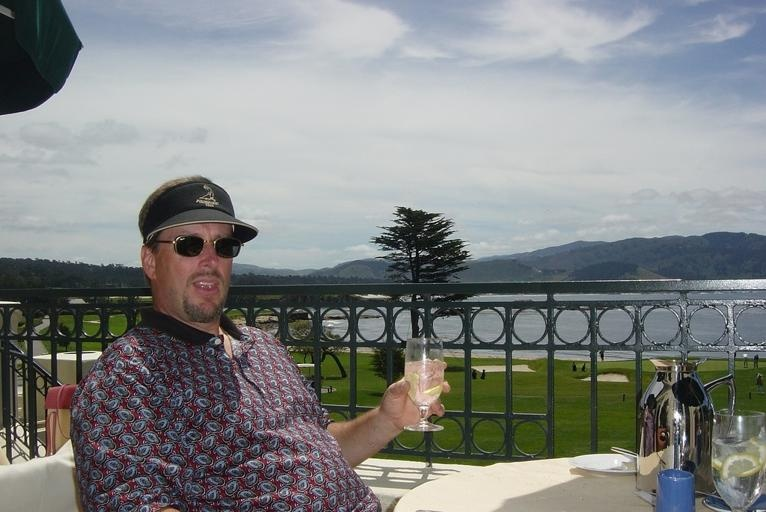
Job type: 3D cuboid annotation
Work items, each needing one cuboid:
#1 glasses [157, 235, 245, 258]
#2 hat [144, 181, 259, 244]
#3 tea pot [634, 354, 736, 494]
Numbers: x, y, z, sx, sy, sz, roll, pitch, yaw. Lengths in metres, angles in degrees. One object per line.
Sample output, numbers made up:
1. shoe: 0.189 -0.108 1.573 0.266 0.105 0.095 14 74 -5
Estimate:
1. glasses: -0.701 -0.040 2.801 0.225 0.081 0.306 0 2 -26
2. hat: -0.748 -0.194 2.897 0.285 0.303 0.382 0 7 -36
3. tea pot: 1.077 0.594 2.624 0.363 0.478 0.264 5 13 15
